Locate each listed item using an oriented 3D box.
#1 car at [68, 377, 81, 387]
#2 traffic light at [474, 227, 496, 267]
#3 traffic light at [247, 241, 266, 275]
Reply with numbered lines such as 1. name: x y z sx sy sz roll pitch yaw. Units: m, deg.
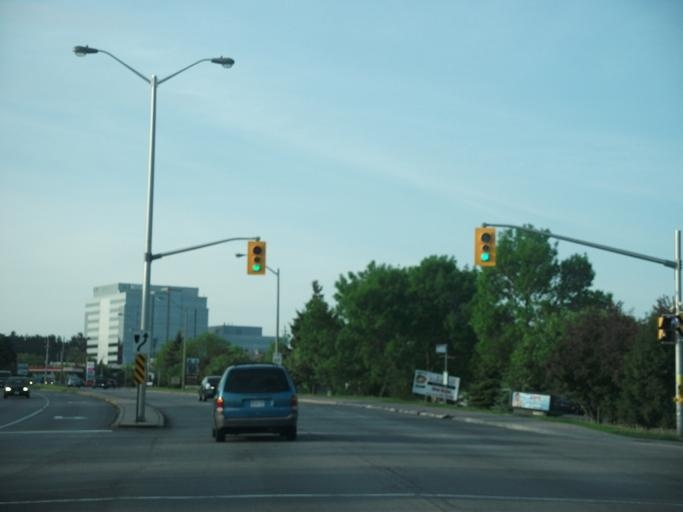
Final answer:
1. car: -30.094 13.926 121.527 0.992 0.954 1.639 3 -19 -24
2. traffic light: 5.338 -0.398 40.112 0.971 1.432 0.795 5 -10 -12
3. traffic light: -3.405 0.099 43.434 0.713 1.722 0.284 2 -38 -6
